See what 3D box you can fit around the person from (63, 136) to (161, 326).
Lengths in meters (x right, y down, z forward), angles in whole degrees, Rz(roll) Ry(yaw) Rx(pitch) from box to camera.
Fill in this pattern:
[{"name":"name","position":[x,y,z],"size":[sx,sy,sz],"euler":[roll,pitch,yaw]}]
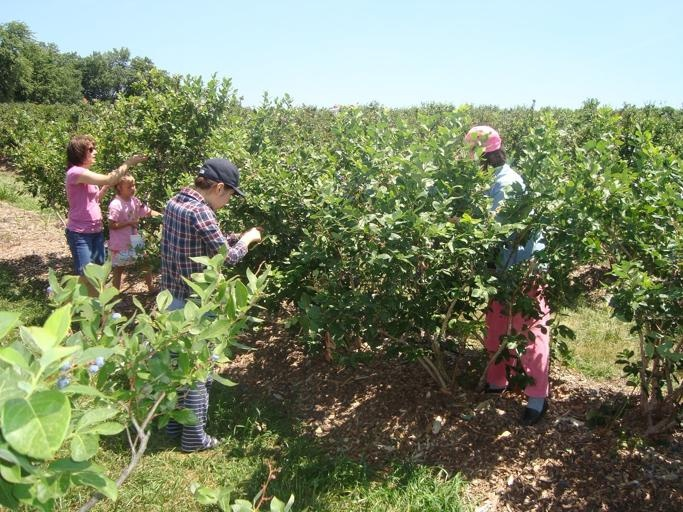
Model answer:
[{"name":"person","position":[-3.034,-0.477,6.741],"size":[0.787,2.033,1.092],"euler":[-11,16,-26]}]

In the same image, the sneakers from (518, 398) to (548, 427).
[{"name":"sneakers","position":[1.675,1.352,4.679],"size":[0.121,0.096,0.348],"euler":[-4,11,36]}]

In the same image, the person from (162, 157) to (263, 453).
[{"name":"person","position":[-1.136,0.429,4.554],"size":[0.929,2.455,0.888],"euler":[-2,14,5]}]

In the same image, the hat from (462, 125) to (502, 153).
[{"name":"hat","position":[1.172,-0.998,4.623],"size":[0.388,0.131,0.267],"euler":[8,35,11]}]

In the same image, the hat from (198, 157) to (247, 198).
[{"name":"hat","position":[-0.991,-0.697,4.493],"size":[0.459,0.246,0.328],"euler":[20,3,-29]}]

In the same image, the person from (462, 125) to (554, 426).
[{"name":"person","position":[1.483,0.118,4.712],"size":[0.710,2.462,0.993],"euler":[-5,14,-5]}]
